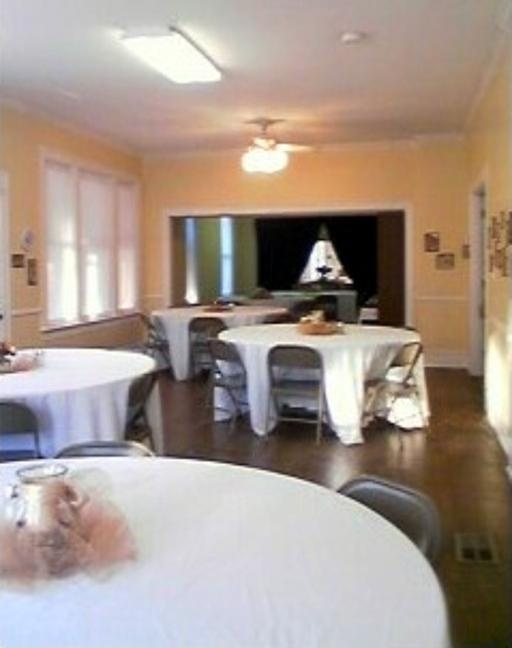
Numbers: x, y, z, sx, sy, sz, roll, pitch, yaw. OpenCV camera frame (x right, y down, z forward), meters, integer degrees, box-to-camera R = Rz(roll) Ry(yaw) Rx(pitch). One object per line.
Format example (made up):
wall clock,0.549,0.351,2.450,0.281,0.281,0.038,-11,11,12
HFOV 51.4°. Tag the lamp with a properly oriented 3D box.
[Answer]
lamp,-0.180,-0.639,1.307,0.210,0.050,0.216,31,-8,-41

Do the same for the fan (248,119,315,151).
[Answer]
fan,0.065,-0.594,1.681,0.123,0.042,0.085,-2,7,-22
